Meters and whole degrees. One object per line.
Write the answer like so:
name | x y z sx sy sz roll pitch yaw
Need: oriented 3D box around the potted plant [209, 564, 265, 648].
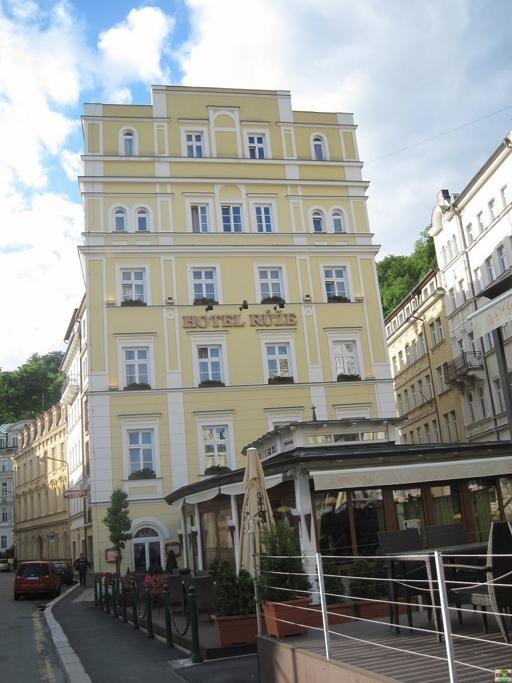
potted plant | -0.298 3.985 10.676 0.808 1.130 0.756 -14 -17 5

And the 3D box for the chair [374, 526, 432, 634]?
chair | 2.000 2.840 8.440 0.876 0.934 0.795 5 -12 -24

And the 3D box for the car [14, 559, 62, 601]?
car | -9.010 9.866 28.799 1.482 1.161 2.565 0 -14 -5
